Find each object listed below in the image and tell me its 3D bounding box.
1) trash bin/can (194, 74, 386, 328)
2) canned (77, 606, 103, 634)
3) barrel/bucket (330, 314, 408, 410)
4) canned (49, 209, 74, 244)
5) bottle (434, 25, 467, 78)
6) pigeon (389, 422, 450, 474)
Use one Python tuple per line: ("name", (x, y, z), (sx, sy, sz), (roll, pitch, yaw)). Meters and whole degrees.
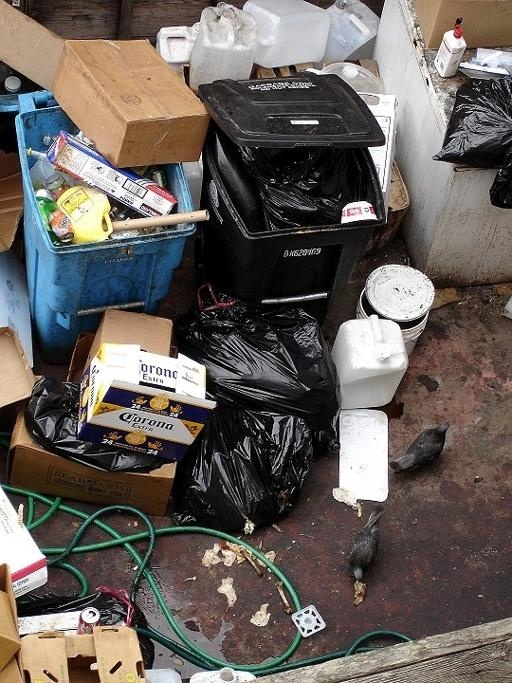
("trash bin/can", (0.084, -0.589, 2.819), (0.752, 1.034, 0.845), (-11, 52, -18))
("canned", (-0.480, 0.800, 1.722), (0.057, 0.174, 0.107), (2, 42, -11))
("barrel/bucket", (0.513, 0.095, 2.728), (0.381, 0.609, 0.335), (2, 63, -4))
("canned", (-0.716, -0.417, 2.206), (0.072, 0.073, 0.122), (-34, 49, 3))
("bottle", (0.949, -1.401, 2.899), (0.099, 0.239, 0.104), (-1, 69, 3))
("pigeon", (0.725, 0.472, 2.740), (0.221, 0.331, 0.147), (14, 46, -60))
